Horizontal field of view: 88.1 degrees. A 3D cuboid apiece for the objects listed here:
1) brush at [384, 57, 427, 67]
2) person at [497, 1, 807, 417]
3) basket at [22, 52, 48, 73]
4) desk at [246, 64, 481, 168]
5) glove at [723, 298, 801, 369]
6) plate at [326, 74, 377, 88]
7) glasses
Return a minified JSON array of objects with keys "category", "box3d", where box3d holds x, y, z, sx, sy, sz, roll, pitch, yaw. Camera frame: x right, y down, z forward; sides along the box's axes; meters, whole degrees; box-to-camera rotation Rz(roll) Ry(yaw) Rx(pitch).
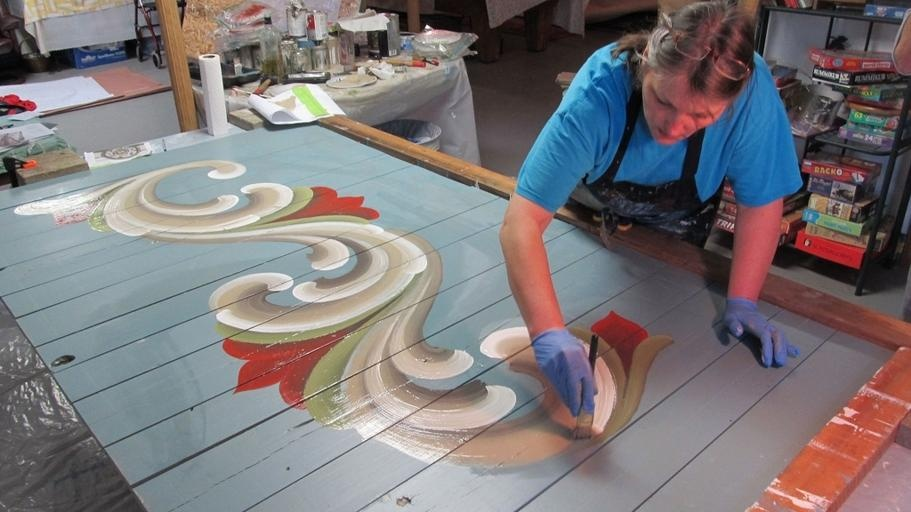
[{"category":"brush","box3d":[-0.412,-1.577,3.816,0.286,0.054,0.156,7,17,14]},{"category":"person","box3d":[0.722,-0.264,1.687,1.185,1.139,0.884,-12,33,-17]},{"category":"basket","box3d":[-4.754,-2.185,5.315,0.222,0.139,0.217,-23,41,-35]},{"category":"desk","box3d":[-0.449,-1.240,3.775,1.132,0.602,1.132,26,45,25]},{"category":"glove","box3d":[1.052,0.301,1.728,0.214,0.096,0.240,-7,49,-40]},{"category":"plate","box3d":[-0.765,-1.277,3.447,0.218,0.022,0.208,0,34,0]},{"category":"glasses","box3d":[0.742,-0.628,1.397,0.254,0.070,0.239,11,-10,-3]}]
